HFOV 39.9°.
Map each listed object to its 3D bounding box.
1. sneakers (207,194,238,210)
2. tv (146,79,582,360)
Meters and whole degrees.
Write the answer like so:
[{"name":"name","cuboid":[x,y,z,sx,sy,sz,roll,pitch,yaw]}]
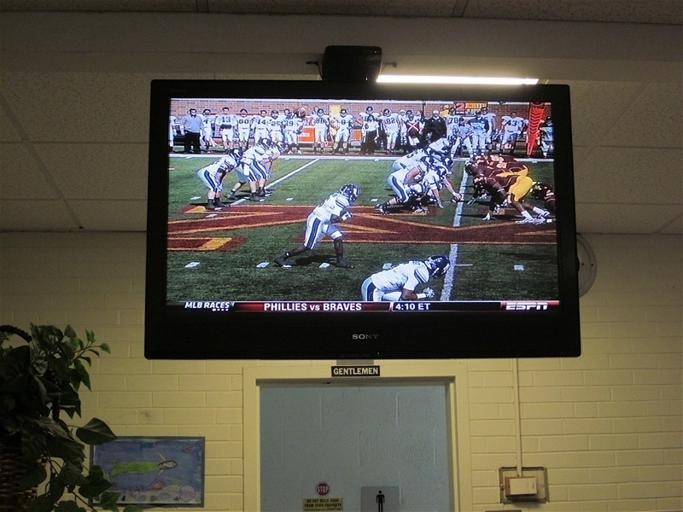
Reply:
[{"name":"sneakers","cuboid":[-0.508,-0.224,3.933,0.131,0.074,0.042,-9,15,-8]},{"name":"tv","cuboid":[0.035,-0.114,3.883,1.430,0.770,0.060,0,-10,-1]}]
